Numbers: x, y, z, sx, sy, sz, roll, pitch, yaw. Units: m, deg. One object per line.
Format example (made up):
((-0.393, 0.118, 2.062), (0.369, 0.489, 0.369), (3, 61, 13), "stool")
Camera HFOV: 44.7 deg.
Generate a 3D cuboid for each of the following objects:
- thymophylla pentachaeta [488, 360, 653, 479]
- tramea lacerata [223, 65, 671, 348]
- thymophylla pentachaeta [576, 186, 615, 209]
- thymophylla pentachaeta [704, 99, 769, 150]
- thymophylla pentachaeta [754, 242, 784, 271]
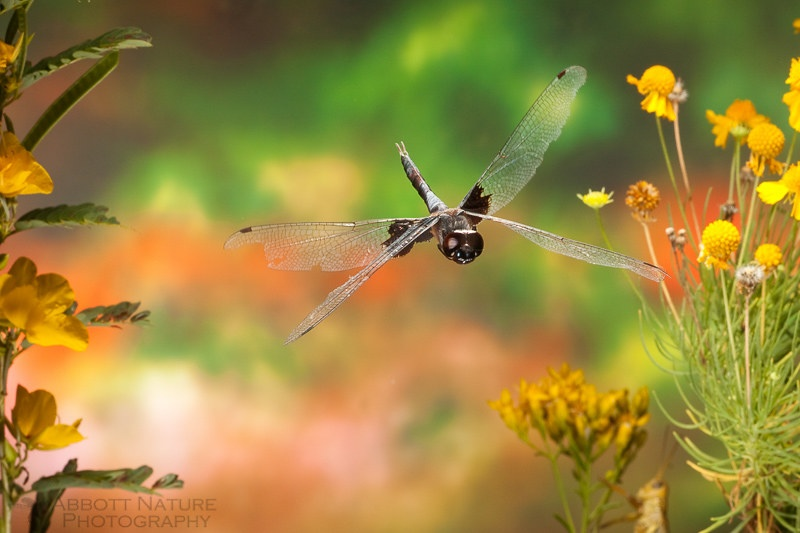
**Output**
((0.336, 0.318, 1.941), (0.309, 0.159, 0.178), (-2, -54, 3), "thymophylla pentachaeta")
((0.073, -0.072, 2.017), (0.855, 0.620, 0.305), (-16, -55, 13), "tramea lacerata")
((0.399, -0.143, 1.999), (0.068, 0.071, 0.029), (3, -79, 27), "thymophylla pentachaeta")
((0.661, -0.285, 1.906), (0.096, 0.047, 0.108), (-10, -86, 15), "thymophylla pentachaeta")
((0.679, -0.020, 1.791), (0.034, 0.033, 0.063), (0, -91, 37), "thymophylla pentachaeta")
